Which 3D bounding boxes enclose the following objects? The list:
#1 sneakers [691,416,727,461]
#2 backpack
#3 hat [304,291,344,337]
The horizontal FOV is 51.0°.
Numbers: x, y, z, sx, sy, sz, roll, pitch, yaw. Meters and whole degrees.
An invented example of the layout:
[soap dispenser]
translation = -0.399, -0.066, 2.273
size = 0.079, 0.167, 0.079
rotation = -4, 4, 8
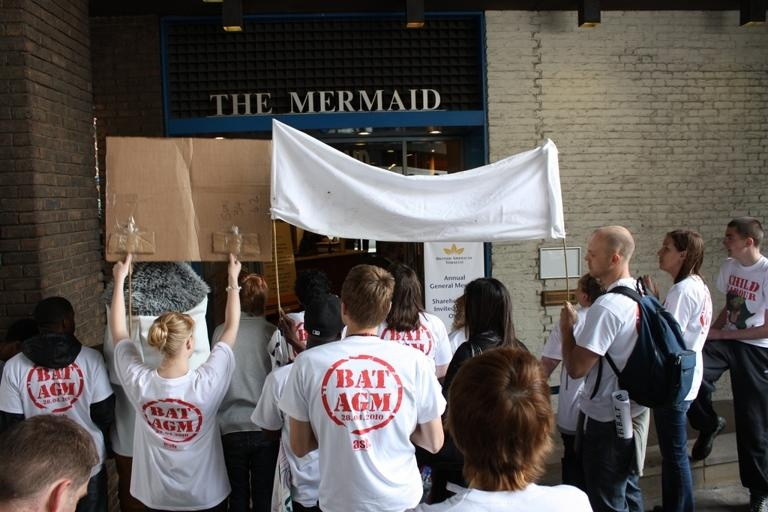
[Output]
[sneakers]
translation = 3.456, 1.947, 8.533
size = 0.175, 0.442, 0.156
rotation = 23, 12, -12
[backpack]
translation = 2.333, 0.784, 7.025
size = 0.728, 1.044, 0.262
rotation = 0, 1, 18
[hat]
translation = -0.486, 0.488, 6.452
size = 0.241, 0.192, 0.344
rotation = 6, 29, 1
